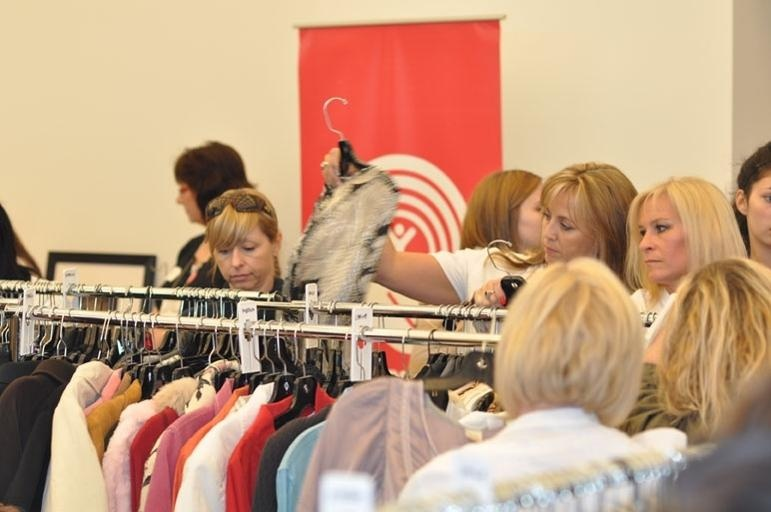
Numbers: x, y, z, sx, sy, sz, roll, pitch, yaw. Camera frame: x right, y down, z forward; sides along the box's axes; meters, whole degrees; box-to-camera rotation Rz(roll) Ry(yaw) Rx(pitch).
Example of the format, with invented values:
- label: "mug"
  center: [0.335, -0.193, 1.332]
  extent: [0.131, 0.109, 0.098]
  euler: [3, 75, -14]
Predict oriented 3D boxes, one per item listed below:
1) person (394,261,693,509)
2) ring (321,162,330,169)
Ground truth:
- label: "person"
  center: [0.383, 0.282, 2.116]
  extent: [0.714, 0.552, 0.205]
  euler: [0, -3, -19]
- label: "ring"
  center: [-0.211, -0.312, 3.059]
  extent: [0.019, 0.025, 0.068]
  euler: [0, -3, -14]
